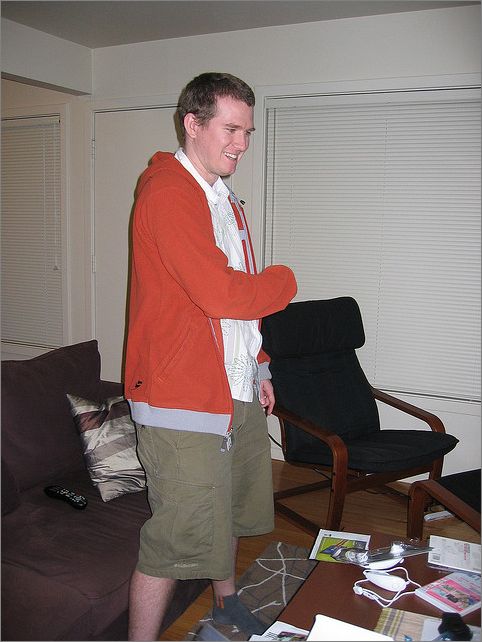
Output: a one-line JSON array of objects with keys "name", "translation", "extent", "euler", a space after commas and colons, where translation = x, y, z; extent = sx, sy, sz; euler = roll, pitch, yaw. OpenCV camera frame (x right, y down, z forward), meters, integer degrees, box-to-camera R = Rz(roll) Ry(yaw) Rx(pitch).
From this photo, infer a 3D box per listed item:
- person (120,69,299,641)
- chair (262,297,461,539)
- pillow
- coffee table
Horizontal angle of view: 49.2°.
[{"name": "person", "translation": [-0.085, 0.131, 1.250], "extent": [0.397, 1.385, 0.467], "euler": [-2, 2, -9]}, {"name": "chair", "translation": [0.529, 0.421, 2.398], "extent": [0.732, 0.907, 0.860], "euler": [-3, 11, -21]}, {"name": "pillow", "translation": [-0.534, 0.447, 1.878], "extent": [0.101, 0.348, 0.296], "euler": [-40, -19, 27]}, {"name": "coffee table", "translation": [0.303, 0.648, 1.295], "extent": [0.365, 0.089, 0.378], "euler": [8, 12, 18]}]
